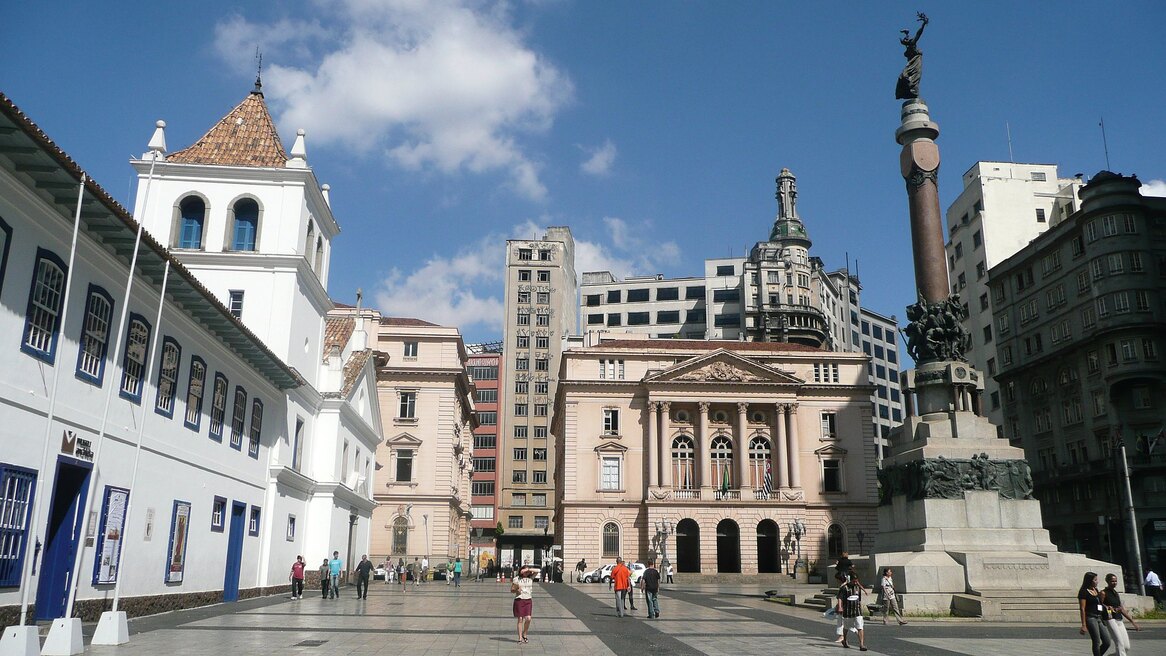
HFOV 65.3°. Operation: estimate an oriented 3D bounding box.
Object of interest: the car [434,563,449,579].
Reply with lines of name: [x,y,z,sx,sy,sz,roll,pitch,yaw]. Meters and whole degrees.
car: [-12.673,21.871,81.660,1.315,1.032,2.053,2,-18,-8]
